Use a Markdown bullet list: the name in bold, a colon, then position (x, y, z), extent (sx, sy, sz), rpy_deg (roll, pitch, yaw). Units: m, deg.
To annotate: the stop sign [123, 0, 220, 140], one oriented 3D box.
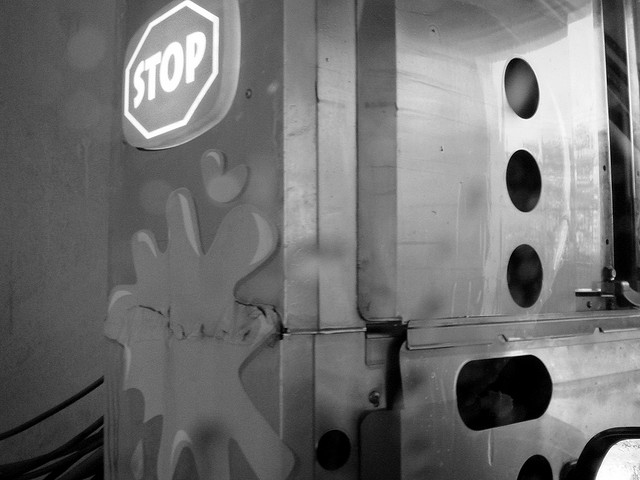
- **stop sign**: position (-0.581, -0.672, 2.885), extent (0.007, 0.500, 0.595), rpy_deg (6, -7, -44)
